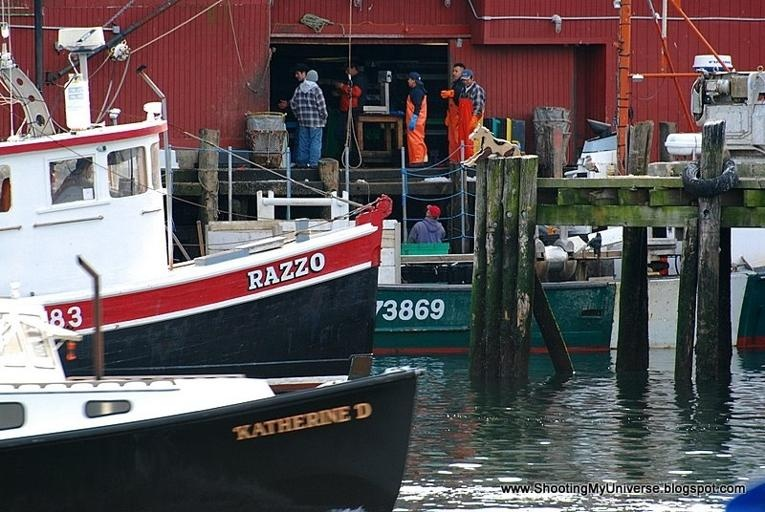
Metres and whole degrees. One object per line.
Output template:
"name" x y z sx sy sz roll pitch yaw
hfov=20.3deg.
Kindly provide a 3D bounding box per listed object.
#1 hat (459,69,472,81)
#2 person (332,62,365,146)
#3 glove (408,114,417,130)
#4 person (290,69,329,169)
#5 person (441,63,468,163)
"hat" 1.719 -3.763 43.891 0.169 0.198 0.238 0 -1 25
"person" -0.745 -3.067 45.167 0.481 2.177 0.749 7 0 -7
"glove" 0.610 -2.772 43.903 0.155 0.290 0.089 3 3 15
"person" -1.510 -2.851 44.162 0.740 2.037 0.651 5 8 25
"person" 1.487 -2.996 44.561 0.509 2.132 0.524 8 -2 -12
